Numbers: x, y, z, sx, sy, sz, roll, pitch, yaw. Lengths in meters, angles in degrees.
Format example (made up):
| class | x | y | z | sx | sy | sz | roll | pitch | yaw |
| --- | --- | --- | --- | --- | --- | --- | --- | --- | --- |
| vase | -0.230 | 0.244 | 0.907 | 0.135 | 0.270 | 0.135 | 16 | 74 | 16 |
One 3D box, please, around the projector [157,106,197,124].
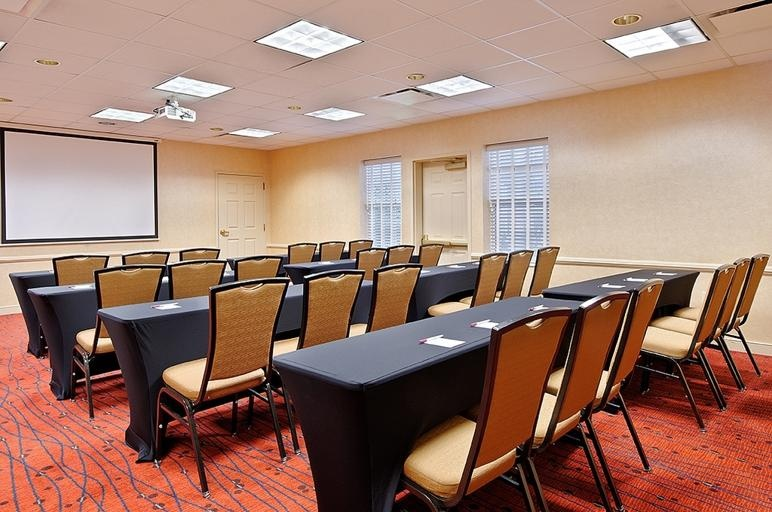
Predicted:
| class | x | y | z | sx | sy | sz | roll | pitch | yaw |
| --- | --- | --- | --- | --- | --- | --- | --- | --- | --- |
| projector | -2.886 | -1.997 | 6.408 | 0.433 | 0.223 | 0.379 | -7 | 8 | -43 |
